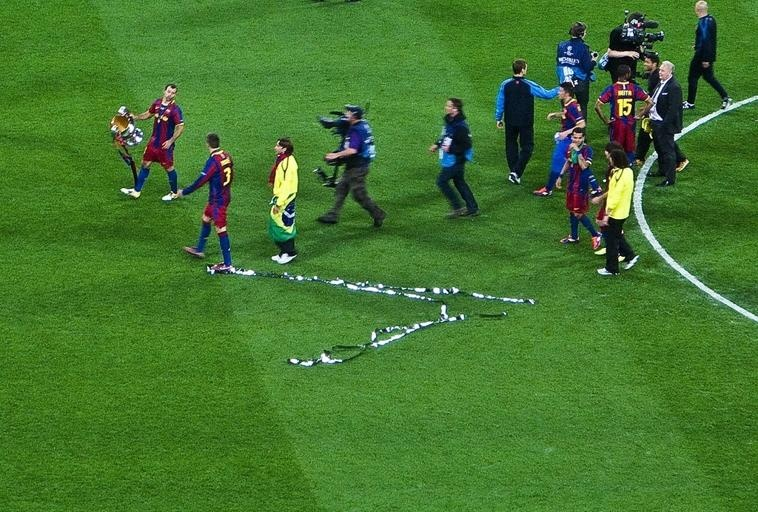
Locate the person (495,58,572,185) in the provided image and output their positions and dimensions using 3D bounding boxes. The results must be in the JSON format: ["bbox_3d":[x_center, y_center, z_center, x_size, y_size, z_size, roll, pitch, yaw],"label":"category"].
[{"bbox_3d":[2.998,-2.816,26.339,1.159,2.741,0.953,-9,27,-2],"label":"person"}]

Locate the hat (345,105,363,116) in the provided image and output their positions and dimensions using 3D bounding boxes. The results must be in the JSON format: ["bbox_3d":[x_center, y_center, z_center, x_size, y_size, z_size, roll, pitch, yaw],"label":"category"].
[{"bbox_3d":[-0.478,-2.864,24.426,0.326,0.235,0.374,-6,24,0],"label":"hat"}]
